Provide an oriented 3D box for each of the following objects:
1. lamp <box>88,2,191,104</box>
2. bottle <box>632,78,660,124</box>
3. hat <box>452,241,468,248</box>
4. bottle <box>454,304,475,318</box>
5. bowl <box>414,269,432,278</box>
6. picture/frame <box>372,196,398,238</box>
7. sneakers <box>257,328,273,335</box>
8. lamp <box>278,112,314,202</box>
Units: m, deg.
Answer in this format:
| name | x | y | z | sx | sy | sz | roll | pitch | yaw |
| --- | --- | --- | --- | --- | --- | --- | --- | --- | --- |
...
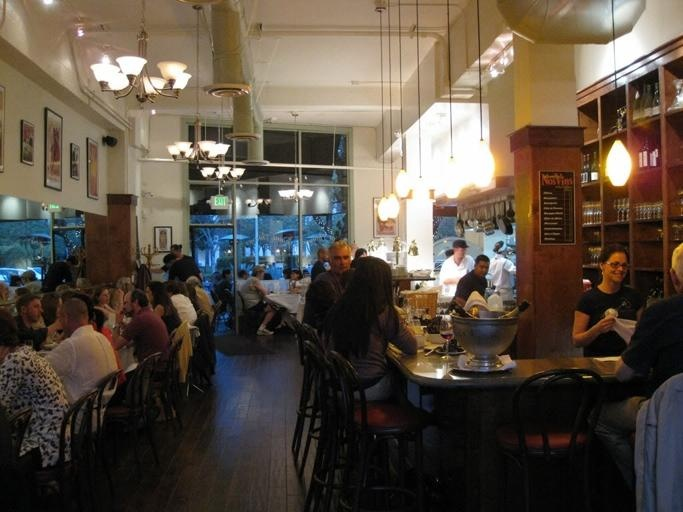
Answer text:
| name | x | y | z | sx | sy | sz | roll | pitch | yaw |
| --- | --- | --- | --- | --- | --- | --- | --- | --- | --- |
| lamp | -2.655 | -2.707 | 7.406 | 1.072 | 1.497 | 0.973 | -1 | -7 | 17 |
| bottle | 3.022 | -1.546 | 5.582 | 0.173 | 0.398 | 0.308 | -2 | 2 | -24 |
| hat | 1.785 | -0.183 | 8.598 | 0.139 | 0.077 | 0.109 | -8 | 3 | 11 |
| bottle | 0.796 | 0.335 | 3.627 | 0.137 | 0.083 | 0.160 | 0 | 3 | 26 |
| bowl | 1.344 | 0.290 | 9.434 | 0.189 | 0.076 | 0.137 | 5 | -7 | -36 |
| picture/frame | 1.057 | -0.938 | 13.814 | 0.572 | 1.078 | 0.048 | -2 | 33 | 2 |
| sneakers | -1.600 | 1.545 | 11.718 | 0.289 | 0.141 | 0.136 | 1 | -1 | -10 |
| lamp | -1.051 | -2.174 | 13.162 | 0.744 | 1.956 | 1.036 | -1 | 2 | -3 |
